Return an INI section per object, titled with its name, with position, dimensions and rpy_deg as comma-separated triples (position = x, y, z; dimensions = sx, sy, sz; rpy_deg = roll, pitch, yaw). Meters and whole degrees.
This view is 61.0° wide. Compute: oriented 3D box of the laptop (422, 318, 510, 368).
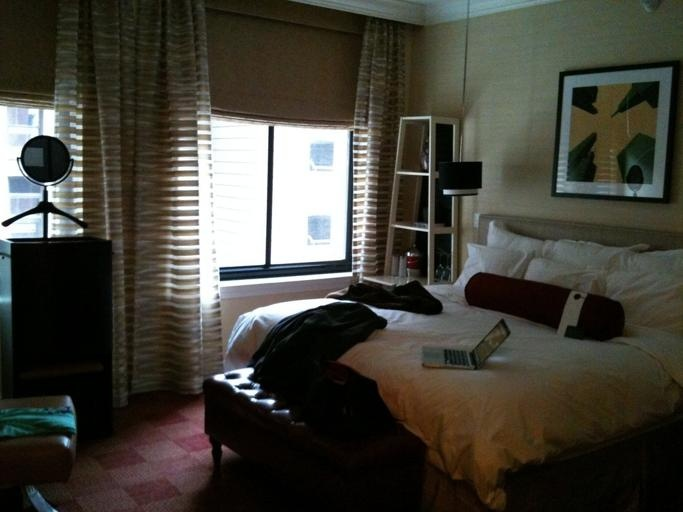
[laptop]
position = 0.718, 0.493, 3.324
dimensions = 0.378, 0.164, 0.262
rpy_deg = -1, 13, 0

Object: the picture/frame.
[picture/frame]
position = 2.137, -0.956, 4.447
dimensions = 0.059, 1.251, 1.128
rpy_deg = -5, 9, -39

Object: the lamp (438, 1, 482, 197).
[lamp]
position = 1.089, -1.414, 5.169
dimensions = 0.373, 1.813, 0.810
rpy_deg = 1, 9, 12

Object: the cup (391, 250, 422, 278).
[cup]
position = 0.647, 0.066, 5.762
dimensions = 0.312, 0.279, 0.221
rpy_deg = 0, 4, 0
